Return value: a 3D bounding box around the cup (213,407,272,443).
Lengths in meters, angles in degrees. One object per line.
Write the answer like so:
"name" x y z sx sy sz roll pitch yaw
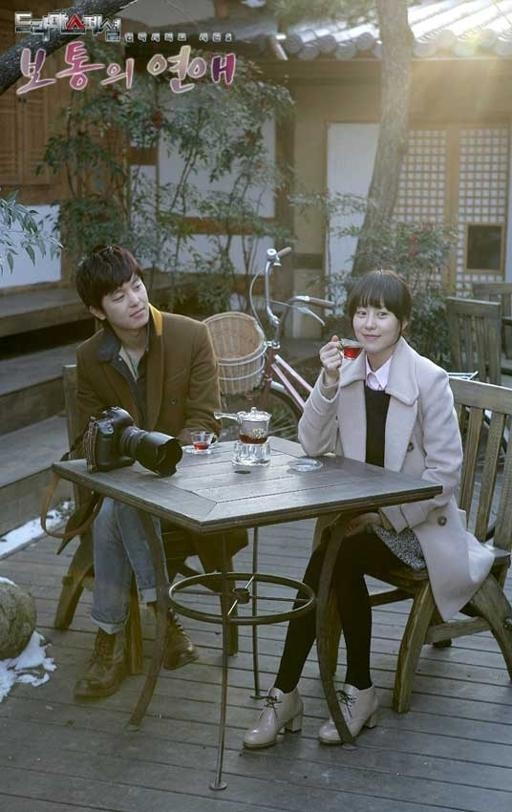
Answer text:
"cup" -0.039 0.090 1.841 0.174 0.143 0.168 0 18 0

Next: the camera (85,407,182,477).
"camera" -0.322 0.062 1.737 0.268 0.162 0.366 7 12 13

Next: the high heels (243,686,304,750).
"high heels" 0.062 0.846 1.710 0.082 0.145 0.244 -4 -9 34

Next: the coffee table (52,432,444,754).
"coffee table" 0.003 0.504 1.684 0.870 0.798 0.829 2 -3 -36

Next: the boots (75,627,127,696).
"boots" -0.476 0.852 2.055 0.089 0.159 0.246 1 -7 9

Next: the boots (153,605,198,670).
"boots" -0.271 0.841 2.281 0.119 0.245 0.327 -4 -9 -33
